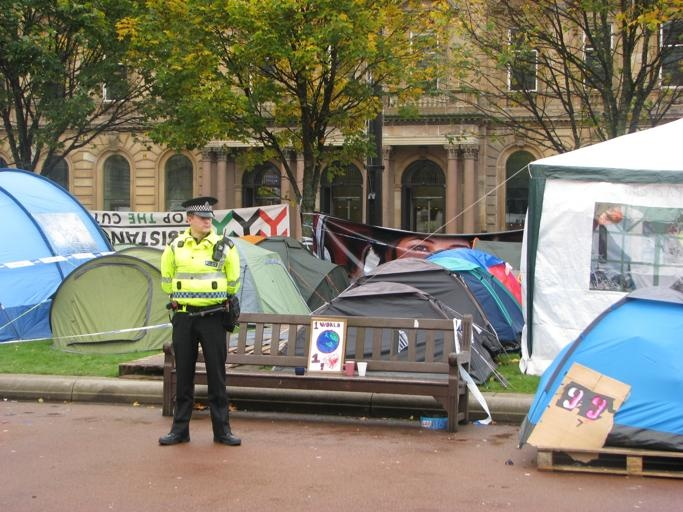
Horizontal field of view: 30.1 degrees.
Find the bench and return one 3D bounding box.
[{"bbox_3d":[-0.521,1.847,20.769,4.645,1.553,1.171,2,7,4],"label":"bench"}]

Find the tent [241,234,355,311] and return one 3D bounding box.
[{"bbox_3d":[-0.870,0.219,28.460,1.813,0.716,1.817,19,24,27],"label":"tent"}]

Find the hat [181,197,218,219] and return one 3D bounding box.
[{"bbox_3d":[-2.217,-0.771,19.497,0.394,0.218,0.420,-1,-1,-29],"label":"hat"}]

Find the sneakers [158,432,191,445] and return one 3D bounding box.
[{"bbox_3d":[-2.548,2.810,19.446,0.494,0.236,0.187,4,-3,-12],"label":"sneakers"}]

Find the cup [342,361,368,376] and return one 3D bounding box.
[{"bbox_3d":[0.227,1.825,20.572,0.319,0.153,0.236,1,-2,4],"label":"cup"}]

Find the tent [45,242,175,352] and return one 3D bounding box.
[{"bbox_3d":[-4.439,0.784,24.479,2.087,1.311,2.102,-1,1,-34],"label":"tent"}]

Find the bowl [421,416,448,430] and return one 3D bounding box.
[{"bbox_3d":[1.504,2.684,20.320,0.257,0.099,0.238,0,1,0],"label":"bowl"}]

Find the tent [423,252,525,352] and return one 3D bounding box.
[{"bbox_3d":[2.614,0.919,25.454,1.959,0.884,1.958,3,8,24],"label":"tent"}]

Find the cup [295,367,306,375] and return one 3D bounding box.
[{"bbox_3d":[-0.666,1.871,20.609,0.149,0.104,0.104,1,4,0],"label":"cup"}]

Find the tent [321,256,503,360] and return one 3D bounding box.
[{"bbox_3d":[0.698,1.093,22.823,3.459,1.080,3.578,-1,3,3],"label":"tent"}]

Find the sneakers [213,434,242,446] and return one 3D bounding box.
[{"bbox_3d":[-1.729,2.805,19.353,0.434,0.180,0.164,-1,2,15],"label":"sneakers"}]
